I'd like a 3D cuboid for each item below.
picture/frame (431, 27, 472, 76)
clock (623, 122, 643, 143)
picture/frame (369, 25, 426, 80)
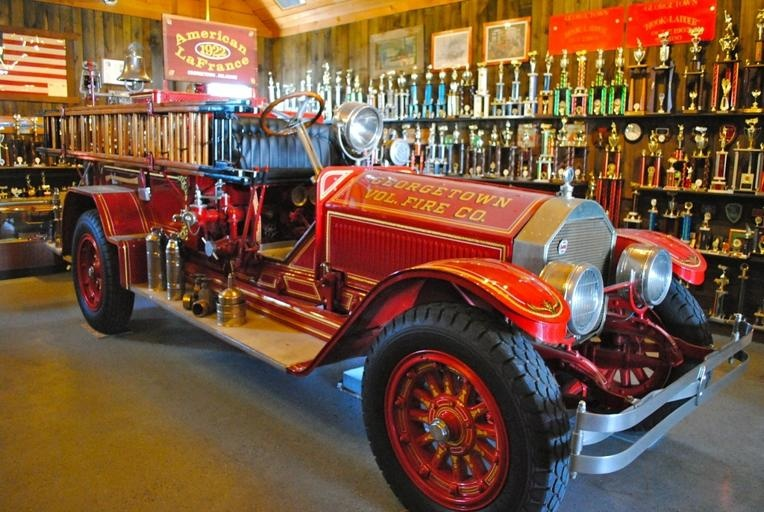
[{"bbox_3d":[0.884,-2.572,6.789,0.049,0.576,0.625,-7,10,-45],"label":"picture/frame"},{"bbox_3d":[2.581,-1.271,5.606,0.167,0.186,0.039,0,3,42],"label":"clock"},{"bbox_3d":[0.235,-2.761,7.328,0.030,0.605,0.809,-9,12,-44],"label":"picture/frame"}]
